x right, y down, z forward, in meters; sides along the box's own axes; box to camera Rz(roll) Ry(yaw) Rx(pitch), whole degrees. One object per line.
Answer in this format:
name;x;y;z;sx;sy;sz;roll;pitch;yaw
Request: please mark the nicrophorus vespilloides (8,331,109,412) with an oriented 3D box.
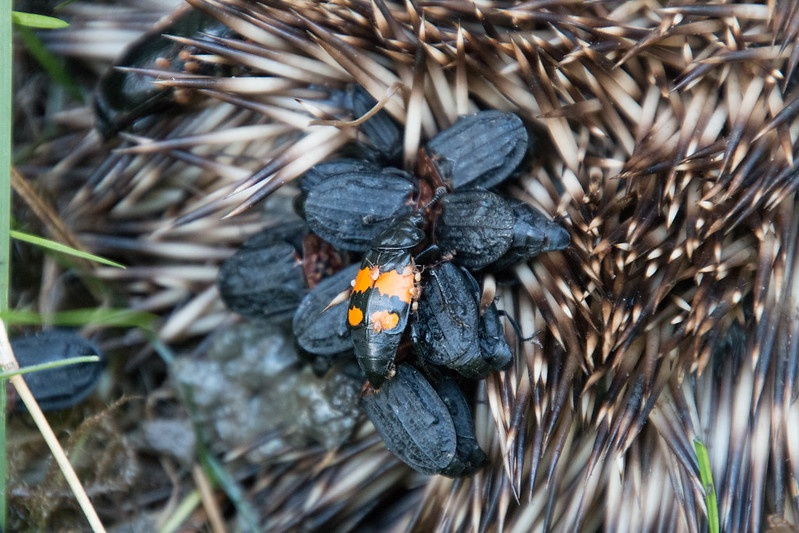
nicrophorus vespilloides;-1.281;0.371;3.422;0.348;0.097;0.296;-11;92;-17
